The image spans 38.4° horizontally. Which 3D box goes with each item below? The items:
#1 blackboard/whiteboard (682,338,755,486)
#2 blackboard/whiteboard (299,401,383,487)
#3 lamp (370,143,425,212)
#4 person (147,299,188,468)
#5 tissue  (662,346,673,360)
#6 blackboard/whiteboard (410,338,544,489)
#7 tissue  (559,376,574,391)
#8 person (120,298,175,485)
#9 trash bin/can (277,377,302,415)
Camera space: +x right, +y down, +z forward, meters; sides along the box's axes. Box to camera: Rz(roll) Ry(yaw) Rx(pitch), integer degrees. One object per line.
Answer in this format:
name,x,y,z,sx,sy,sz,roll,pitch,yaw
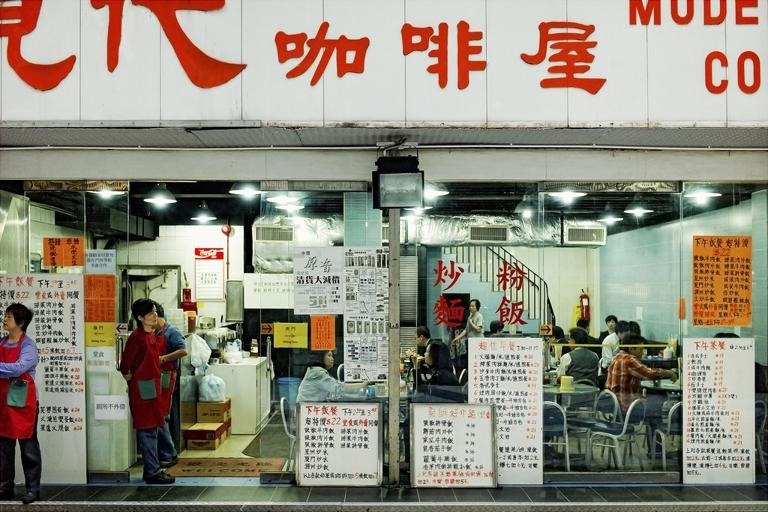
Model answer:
blackboard/whiteboard,4.284,1.989,14.168,0.807,1.910,0.684,0,2,9
blackboard/whiteboard,-0.600,2.371,14.184,1.091,1.049,0.404,1,-4,-8
lamp,0.157,-0.950,13.969,0.650,0.639,0.548,-2,11,-7
person,-3.075,1.727,14.894,0.558,2.169,0.664,9,-22,-38
tissue ,3.659,1.244,14.253,0.121,0.246,0.165,-2,-5,44
blackboard/whiteboard,1.214,2.076,14.061,1.661,3.349,0.128,0,-6,-2
tissue ,2.340,1.648,14.228,0.194,0.186,0.129,2,-2,-7
person,-3.123,1.704,14.569,0.814,2.387,0.695,1,-1,-18
trash bin/can,-1.257,1.774,14.056,0.365,0.398,0.364,0,-3,13
